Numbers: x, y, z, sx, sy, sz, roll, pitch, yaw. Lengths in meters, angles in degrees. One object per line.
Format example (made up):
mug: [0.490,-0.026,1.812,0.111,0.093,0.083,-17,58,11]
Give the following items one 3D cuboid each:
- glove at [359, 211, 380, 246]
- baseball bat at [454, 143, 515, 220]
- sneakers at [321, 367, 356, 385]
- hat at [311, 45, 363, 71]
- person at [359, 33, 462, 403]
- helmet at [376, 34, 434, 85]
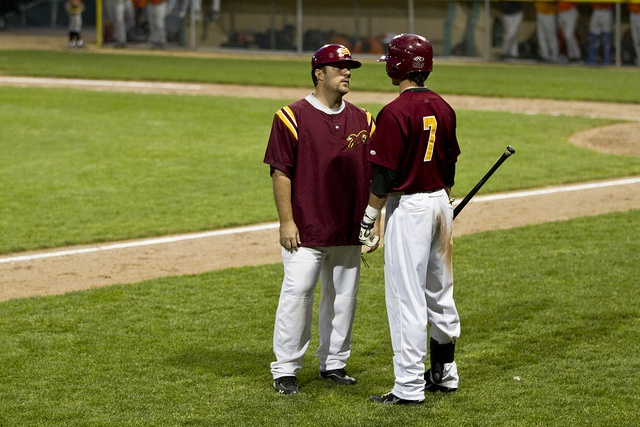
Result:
glove: [0.460,0.117,11.605,0.180,0.402,0.208,2,8,2]
baseball bat: [2.097,-0.376,15.928,0.174,1.255,0.186,37,12,-19]
sneakers: [0.183,1.575,12.035,0.358,0.136,0.133,3,15,17]
hat: [0.120,-1.487,11.762,0.329,0.152,0.260,-6,2,24]
person: [0.882,0.063,11.628,0.946,3.447,0.511,3,8,6]
helmet: [0.815,-1.509,11.740,0.544,0.395,0.446,2,17,11]
